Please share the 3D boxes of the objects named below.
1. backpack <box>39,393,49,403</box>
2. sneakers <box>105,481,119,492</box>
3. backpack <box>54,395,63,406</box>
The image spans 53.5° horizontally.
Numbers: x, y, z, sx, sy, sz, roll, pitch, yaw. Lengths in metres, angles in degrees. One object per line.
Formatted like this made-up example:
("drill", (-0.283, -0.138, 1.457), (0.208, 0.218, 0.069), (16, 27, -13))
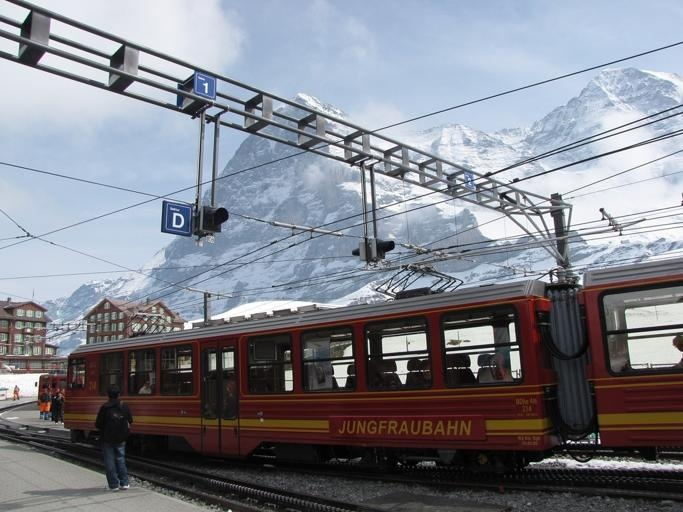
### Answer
("backpack", (-14.672, 7.008, 33.334), (0.546, 0.447, 0.489), (-3, -2, -31))
("sneakers", (-4.540, 4.525, 13.220), (0.357, 0.121, 0.119), (0, -3, 21))
("backpack", (-12.987, 6.616, 31.054), (0.310, 0.385, 0.130), (9, -65, -36))
